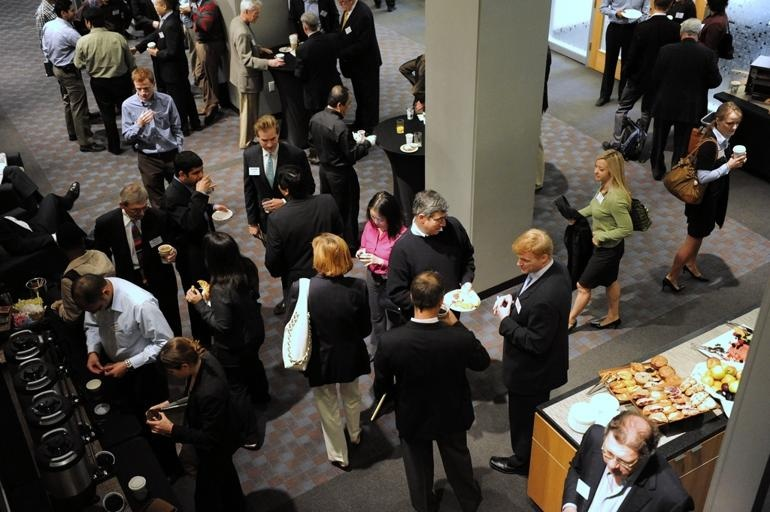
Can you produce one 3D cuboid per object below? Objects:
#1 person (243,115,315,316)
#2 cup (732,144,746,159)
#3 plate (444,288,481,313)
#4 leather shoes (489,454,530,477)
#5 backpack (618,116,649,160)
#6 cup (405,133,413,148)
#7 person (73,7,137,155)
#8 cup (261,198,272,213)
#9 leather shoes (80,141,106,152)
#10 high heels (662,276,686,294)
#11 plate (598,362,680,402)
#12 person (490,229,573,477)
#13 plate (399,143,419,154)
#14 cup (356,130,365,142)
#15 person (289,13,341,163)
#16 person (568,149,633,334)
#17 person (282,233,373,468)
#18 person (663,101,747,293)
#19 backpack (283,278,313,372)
[{"bbox_3d":[-1.204,-0.428,6.612,0.778,2.385,0.757,-1,40,-1],"label":"person"},{"bbox_3d":[3.813,-1.149,6.097,0.109,0.121,0.252,14,32,27],"label":"cup"},{"bbox_3d":[0.643,0.416,4.863,0.221,0.032,0.231,-16,47,-16],"label":"plate"},{"bbox_3d":[1.116,1.847,5.088,0.384,0.184,0.154,14,51,14],"label":"leather shoes"},{"bbox_3d":[3.544,-1.644,8.134,0.293,0.518,0.430,6,28,15],"label":"backpack"},{"bbox_3d":[0.304,-1.504,7.260,0.120,0.153,0.130,-1,46,1],"label":"cup"},{"bbox_3d":[-4.404,-2.755,9.038,0.811,2.270,0.392,-2,26,-1],"label":"person"},{"bbox_3d":[-1.279,-0.545,6.078,0.099,0.097,0.150,-32,23,-8],"label":"cup"},{"bbox_3d":[-4.961,-1.839,9.558,0.413,0.187,0.162,-9,33,-17],"label":"leather shoes"},{"bbox_3d":[3.384,0.356,6.758,0.295,0.220,0.119,5,30,13],"label":"high heels"},{"bbox_3d":[2.000,0.986,4.448,0.397,0.128,0.337,-16,41,-6],"label":"plate"},{"bbox_3d":[1.235,0.914,4.801,0.725,2.428,0.893,4,37,14],"label":"person"},{"bbox_3d":[0.312,-1.360,7.114,0.259,0.073,0.210,-5,28,-7],"label":"plate"},{"bbox_3d":[-0.322,-1.524,7.173,0.109,0.171,0.159,-2,7,-6],"label":"cup"},{"bbox_3d":[-1.040,-2.680,9.062,0.733,2.367,0.700,-18,45,-17],"label":"person"},{"bbox_3d":[2.237,-0.101,6.002,0.678,2.030,0.656,7,26,28],"label":"person"},{"bbox_3d":[-0.488,0.902,4.912,0.747,2.151,0.496,-7,26,-12],"label":"person"},{"bbox_3d":[3.548,-0.608,6.418,0.732,2.151,0.483,-7,26,-12],"label":"person"},{"bbox_3d":[-0.724,0.578,4.643,0.229,0.689,0.302,-1,26,1],"label":"backpack"}]
